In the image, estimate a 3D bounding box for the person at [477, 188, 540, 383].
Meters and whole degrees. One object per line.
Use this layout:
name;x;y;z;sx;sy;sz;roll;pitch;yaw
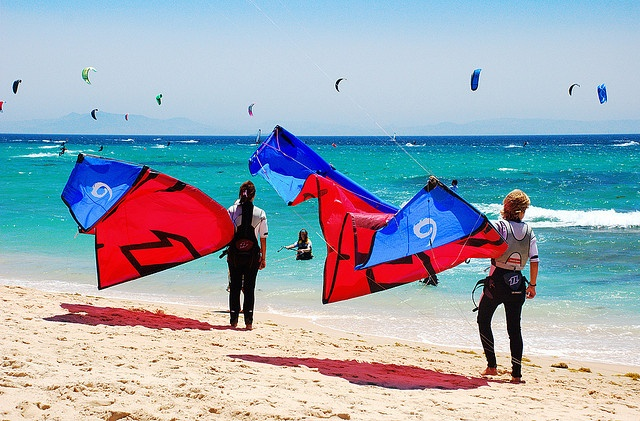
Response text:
person;3.108;1.265;12.663;0.924;3.211;0.362;9;6;11
